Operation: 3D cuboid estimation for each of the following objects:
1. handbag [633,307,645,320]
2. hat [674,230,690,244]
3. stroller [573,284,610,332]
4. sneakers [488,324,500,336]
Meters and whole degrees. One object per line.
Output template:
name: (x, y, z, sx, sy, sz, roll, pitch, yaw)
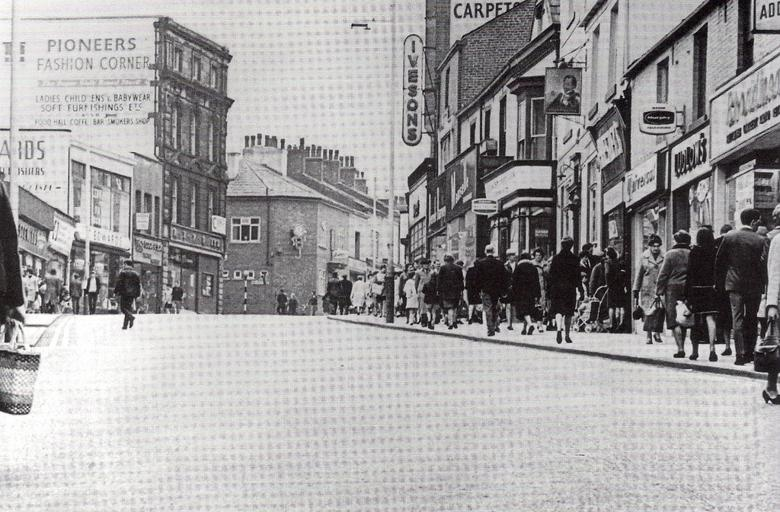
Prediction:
handbag: (4.948, 1.177, 30.415, 0.235, 0.321, 0.111, -7, -12, 36)
hat: (4.822, -0.273, 25.159, 0.230, 0.217, 0.231, 8, 5, 31)
stroller: (4.604, 1.302, 34.695, 0.975, 1.299, 0.794, 1, -2, 8)
sneakers: (2.227, 1.651, 32.890, 0.151, 0.194, 0.458, -4, -12, 8)
